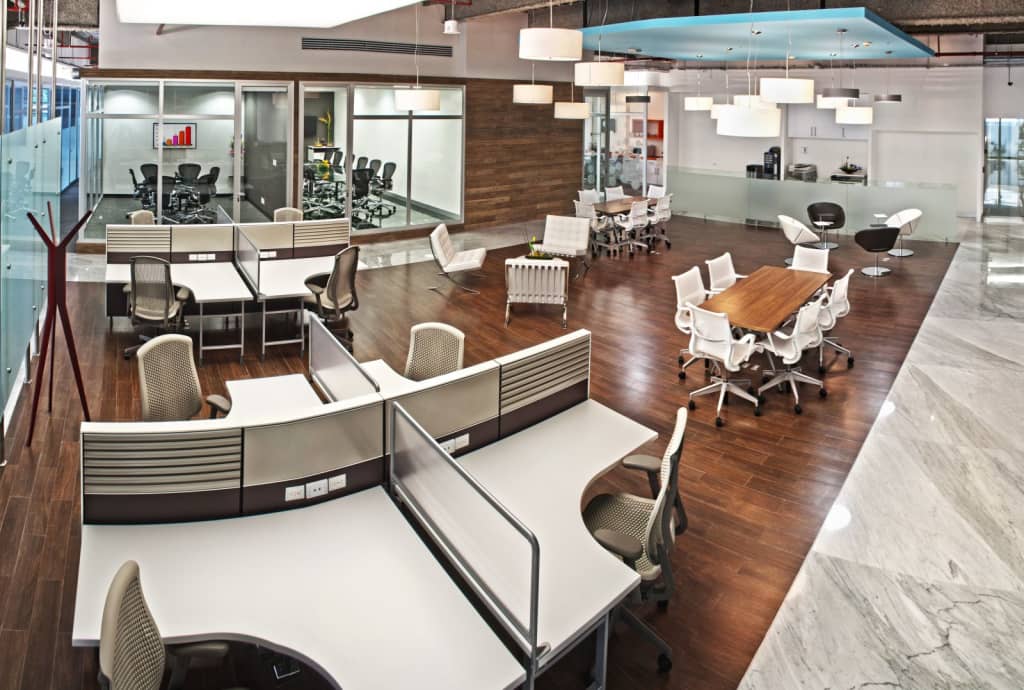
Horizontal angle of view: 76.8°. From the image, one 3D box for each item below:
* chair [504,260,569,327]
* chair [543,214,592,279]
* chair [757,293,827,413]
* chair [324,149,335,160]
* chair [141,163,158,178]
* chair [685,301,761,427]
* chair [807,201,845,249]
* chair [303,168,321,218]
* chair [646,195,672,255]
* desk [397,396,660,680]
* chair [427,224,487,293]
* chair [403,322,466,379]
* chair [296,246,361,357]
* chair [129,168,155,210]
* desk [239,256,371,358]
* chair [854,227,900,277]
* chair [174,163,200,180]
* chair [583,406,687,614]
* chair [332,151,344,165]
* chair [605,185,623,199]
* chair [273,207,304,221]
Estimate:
[{"bbox_3d":[0.407,-0.901,10.889,1.166,1.037,0.980,2,18,3],"label":"chair"},{"bbox_3d":[0.963,-2.002,12.783,1.019,0.980,0.737,11,23,30],"label":"chair"},{"bbox_3d":[3.442,0.025,8.040,0.845,1.254,0.804,-15,22,-25],"label":"chair"},{"bbox_3d":[-4.118,-4.288,14.574,0.224,0.290,0.237,-6,34,-27],"label":"chair"},{"bbox_3d":[-7.413,-3.581,13.294,0.268,0.306,0.269,-15,46,-34],"label":"chair"},{"bbox_3d":[2.525,0.235,7.759,0.962,1.316,0.888,-34,32,-30],"label":"chair"},{"bbox_3d":[7.114,-2.716,14.695,0.719,0.970,0.725,-2,14,2],"label":"chair"},{"bbox_3d":[-4.547,-3.441,14.600,0.363,1.140,0.253,-9,15,-29],"label":"chair"},{"bbox_3d":[3.366,-2.989,15.358,0.744,1.140,0.799,2,18,25],"label":"chair"},{"bbox_3d":[0.042,1.101,4.228,1.641,1.066,1.706,-19,34,-37],"label":"desk"},{"bbox_3d":[-0.986,-1.679,12.171,0.887,1.017,1.487,-2,17,3],"label":"chair"},{"bbox_3d":[-0.761,0.087,6.246,0.484,0.820,0.578,1,32,-4],"label":"chair"},{"bbox_3d":[-2.605,-0.693,9.084,0.864,1.474,0.857,-9,29,-30],"label":"chair"},{"bbox_3d":[-7.639,-3.248,13.308,0.428,0.700,0.508,14,25,13],"label":"chair"},{"bbox_3d":[-2.953,-0.655,9.119,1.437,1.159,1.423,-8,12,-28],"label":"desk"},{"bbox_3d":[7.385,-1.912,13.143,0.811,0.910,0.822,1,12,18],"label":"chair"},{"bbox_3d":[-6.749,-3.610,13.493,0.352,0.441,0.359,-15,48,-34],"label":"chair"},{"bbox_3d":[0.872,1.223,4.682,0.698,1.214,0.813,19,41,19],"label":"chair"},{"bbox_3d":[-3.954,-4.248,14.686,0.223,0.379,0.271,-9,42,-25],"label":"chair"},{"bbox_3d":[2.587,-3.809,16.267,0.320,0.278,0.528,4,13,21],"label":"chair"},{"bbox_3d":[-4.038,-2.342,11.613,0.414,0.194,0.329,-7,14,-27],"label":"chair"}]
